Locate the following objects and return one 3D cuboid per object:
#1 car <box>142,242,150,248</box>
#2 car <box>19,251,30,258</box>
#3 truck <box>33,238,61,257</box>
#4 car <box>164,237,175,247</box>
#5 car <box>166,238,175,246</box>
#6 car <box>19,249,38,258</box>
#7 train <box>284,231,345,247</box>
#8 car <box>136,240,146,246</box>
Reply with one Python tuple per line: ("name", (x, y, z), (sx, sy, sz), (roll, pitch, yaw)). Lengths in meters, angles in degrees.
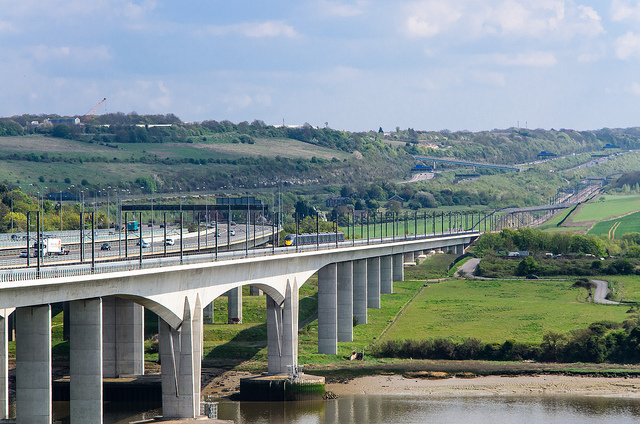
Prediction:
("car", (-30.363, 5.527, 293.750), (1.105, 0.753, 2.351), (2, 6, 2))
("car", (-48.976, 6.693, 279.697), (1.037, 0.675, 1.653), (1, 6, -1))
("truck", (-43.704, 5.416, 275.245), (2.598, 2.391, 5.007), (-2, -4, 32))
("car", (-26.986, 5.358, 302.396), (1.379, 1.004, 2.144), (1, 7, -1))
("car", (-26.880, 5.117, 301.836), (1.541, 1.176, 2.397), (1, 7, -1))
("car", (-47.950, 6.557, 278.912), (1.956, 0.873, 3.177), (-1, 4, -40))
("train", (-1.315, 4.741, 312.079), (2.270, 2.123, 16.602), (3, 5, 31))
("car", (-30.792, 5.002, 289.762), (1.548, 0.601, 1.760), (1, 4, -3))
